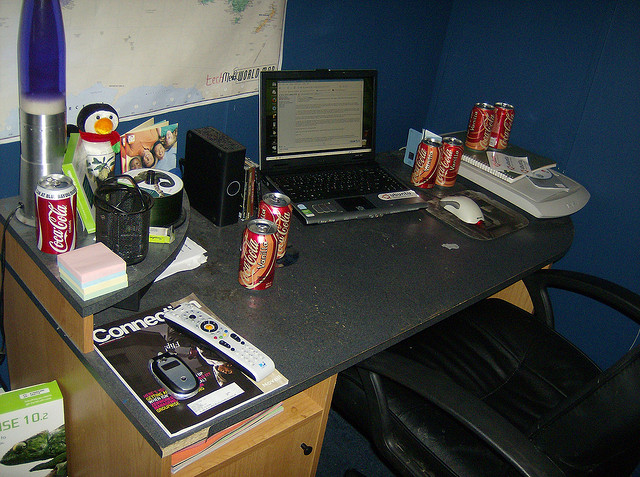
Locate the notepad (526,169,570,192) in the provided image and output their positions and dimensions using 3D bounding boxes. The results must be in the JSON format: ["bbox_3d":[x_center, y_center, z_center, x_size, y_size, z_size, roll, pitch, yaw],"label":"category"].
[{"bbox_3d":[0.837,-0.210,1.894,0.100,0.025,0.090,35,50,22],"label":"notepad"}]

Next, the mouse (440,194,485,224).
[{"bbox_3d":[0.477,-0.105,1.718,0.071,0.043,0.131,-10,44,-35],"label":"mouse"}]

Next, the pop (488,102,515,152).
[{"bbox_3d":[0.739,-0.454,2.100,0.124,0.168,0.125,21,27,37],"label":"pop"}]

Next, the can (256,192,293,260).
[{"bbox_3d":[-0.124,-0.031,1.440,0.088,0.166,0.092,7,25,-3],"label":"can"}]

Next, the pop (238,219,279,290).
[{"bbox_3d":[-0.158,0.043,1.329,0.087,0.165,0.092,11,25,1],"label":"pop"}]

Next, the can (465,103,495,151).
[{"bbox_3d":[0.658,-0.452,2.078,0.094,0.172,0.097,2,28,-1],"label":"can"}]

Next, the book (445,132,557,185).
[{"bbox_3d":[0.690,-0.324,2.003,0.281,0.040,0.284,-21,46,-31],"label":"book"}]

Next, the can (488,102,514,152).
[{"bbox_3d":[0.740,-0.452,2.096,0.119,0.166,0.124,0,20,0],"label":"can"}]

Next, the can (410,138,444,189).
[{"bbox_3d":[0.394,-0.266,1.858,0.106,0.198,0.112,9,36,-6],"label":"can"}]

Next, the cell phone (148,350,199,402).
[{"bbox_3d":[-0.307,0.284,1.083,0.065,0.027,0.112,-21,52,-36],"label":"cell phone"}]

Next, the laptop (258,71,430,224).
[{"bbox_3d":[0.080,-0.320,1.720,0.517,0.382,0.374,-7,32,-25],"label":"laptop"}]

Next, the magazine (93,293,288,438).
[{"bbox_3d":[-0.297,0.264,1.136,0.406,0.074,0.255,28,35,31],"label":"magazine"}]

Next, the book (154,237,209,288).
[{"bbox_3d":[-0.354,0.071,1.351,0.083,0.043,0.182,14,30,12],"label":"book"}]
